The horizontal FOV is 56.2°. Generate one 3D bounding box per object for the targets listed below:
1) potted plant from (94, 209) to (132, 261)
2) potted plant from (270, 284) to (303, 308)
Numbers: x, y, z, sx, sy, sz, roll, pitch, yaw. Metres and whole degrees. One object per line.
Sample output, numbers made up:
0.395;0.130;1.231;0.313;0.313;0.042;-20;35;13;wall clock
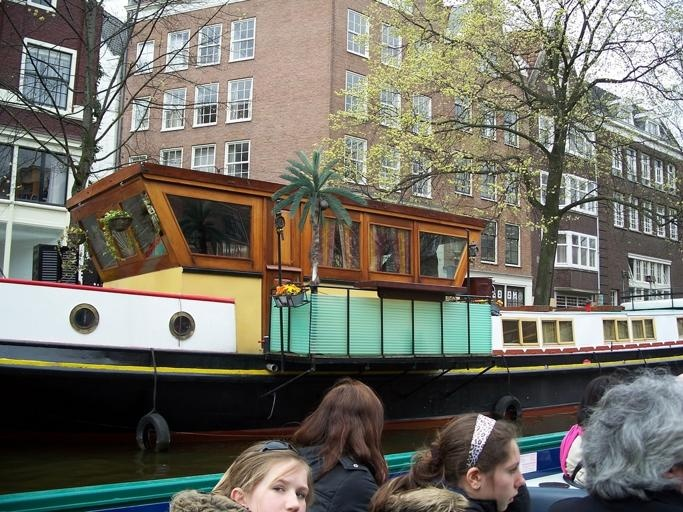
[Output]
-3.937;-0.280;11.434;0.518;0.767;0.473;-17;-4;-24;potted plant
-0.872;0.642;10.338;0.661;0.403;0.289;-10;-14;39;potted plant
